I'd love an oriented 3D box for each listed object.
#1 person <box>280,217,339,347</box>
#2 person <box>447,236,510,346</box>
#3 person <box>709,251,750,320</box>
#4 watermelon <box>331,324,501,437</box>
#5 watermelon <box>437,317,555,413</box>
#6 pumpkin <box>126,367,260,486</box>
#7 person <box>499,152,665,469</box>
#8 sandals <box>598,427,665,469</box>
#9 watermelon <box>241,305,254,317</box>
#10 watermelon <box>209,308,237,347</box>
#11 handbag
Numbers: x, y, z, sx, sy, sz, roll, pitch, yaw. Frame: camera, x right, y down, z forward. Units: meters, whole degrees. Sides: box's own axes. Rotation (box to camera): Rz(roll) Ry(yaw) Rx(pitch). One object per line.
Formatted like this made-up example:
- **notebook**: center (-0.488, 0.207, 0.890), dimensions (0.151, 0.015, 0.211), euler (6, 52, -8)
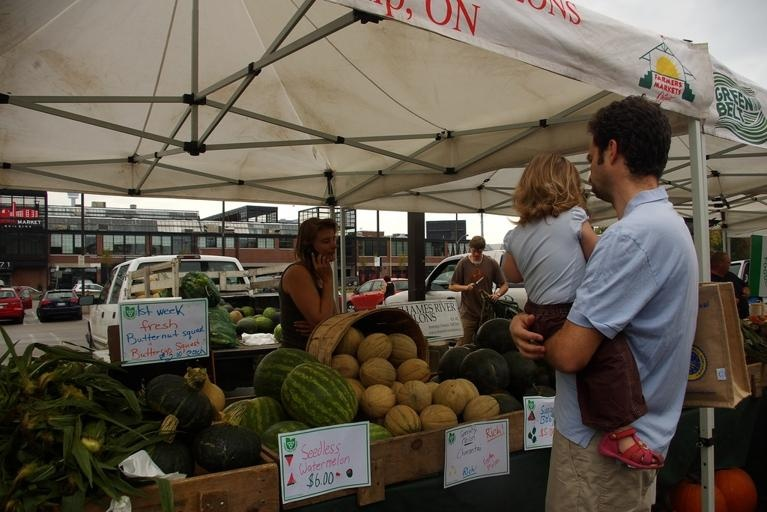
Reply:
- **person**: center (-0.655, 0.518, 4.775), dimensions (0.452, 1.634, 0.519), euler (0, 9, -9)
- **person**: center (1.456, 0.775, 8.705), dimensions (0.847, 2.062, 0.683), euler (-2, 8, 8)
- **person**: center (4.232, 0.325, 6.959), dimensions (0.478, 0.905, 0.515), euler (-5, 7, -16)
- **watermelon**: center (0.165, 0.854, 4.042), dimensions (1.007, 0.672, 0.838), euler (1, 7, -25)
- **watermelon**: center (0.941, 0.887, 4.613), dimensions (0.960, 0.614, 0.660), euler (-2, 11, -26)
- **pumpkin**: center (-1.181, 1.006, 3.524), dimensions (0.627, 0.600, 0.441), euler (0, 8, -21)
- **person**: center (1.214, 0.262, 3.131), dimensions (0.279, 1.604, 1.126), euler (1, -1, -12)
- **sandals**: center (1.285, 0.982, 2.975), dimensions (0.299, 0.146, 0.163), euler (10, 9, 39)
- **watermelon**: center (-2.101, 0.850, 8.814), dimensions (0.142, 0.146, 0.137), euler (-2, 0, -8)
- **watermelon**: center (-1.808, 0.809, 6.403), dimensions (0.298, 0.507, 0.165), euler (5, -33, -40)
- **handbag**: center (1.887, 0.545, 3.541), dimensions (0.231, 0.609, 0.608), euler (-4, -7, -33)
